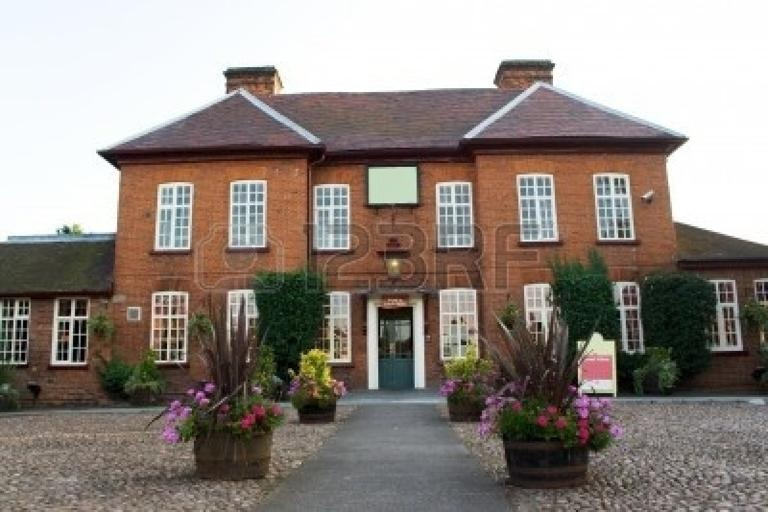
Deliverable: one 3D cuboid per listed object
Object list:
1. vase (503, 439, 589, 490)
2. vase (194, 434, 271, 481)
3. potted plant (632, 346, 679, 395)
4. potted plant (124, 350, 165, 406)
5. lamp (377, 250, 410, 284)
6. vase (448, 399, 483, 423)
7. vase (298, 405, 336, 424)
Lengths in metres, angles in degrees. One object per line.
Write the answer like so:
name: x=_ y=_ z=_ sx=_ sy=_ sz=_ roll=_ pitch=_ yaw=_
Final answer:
vase: x=2.655 y=3.318 z=10.507 sx=1.001 sy=0.448 sz=0.864 roll=4 pitch=-14 yaw=-7
vase: x=-2.572 y=3.409 z=10.994 sx=1.077 sy=0.492 sz=0.786 roll=3 pitch=-15 yaw=-6
potted plant: x=9.736 y=4.124 z=23.285 sx=1.395 sy=1.637 sz=0.872 roll=-6 pitch=-8 yaw=28
potted plant: x=-9.023 y=4.527 z=23.987 sx=1.651 sy=2.211 sz=1.722 roll=-1 pitch=-3 yaw=6
lamp: x=0.398 y=0.393 z=25.551 sx=1.237 sy=1.129 sz=1.208 roll=-1 pitch=-2 yaw=2
vase: x=2.179 y=4.120 z=17.237 sx=0.777 sy=0.458 sz=0.783 roll=0 pitch=-4 yaw=0
vase: x=-1.793 y=4.274 z=17.720 sx=0.627 sy=0.375 sz=0.626 roll=0 pitch=-8 yaw=3
